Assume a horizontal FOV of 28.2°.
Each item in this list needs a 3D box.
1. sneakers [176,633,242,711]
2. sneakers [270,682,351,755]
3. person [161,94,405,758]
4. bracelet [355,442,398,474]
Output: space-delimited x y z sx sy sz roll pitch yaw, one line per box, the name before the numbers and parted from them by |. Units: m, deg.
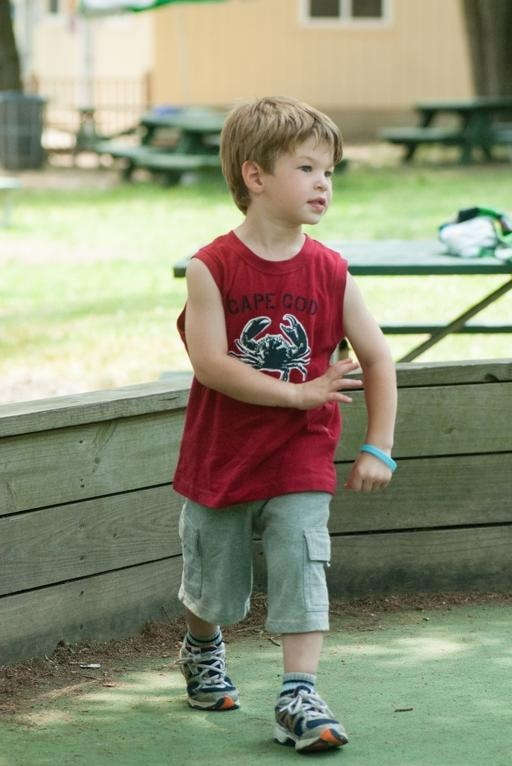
sneakers | -0.099 0.605 2.094 0.084 0.079 0.195 0 2 -14
sneakers | 0.091 0.612 1.834 0.084 0.075 0.175 6 -10 -31
person | 0.091 0.065 1.973 0.386 1.231 0.514 -5 11 -29
bracelet | 0.238 0.145 1.980 0.066 0.017 0.062 29 -11 12
